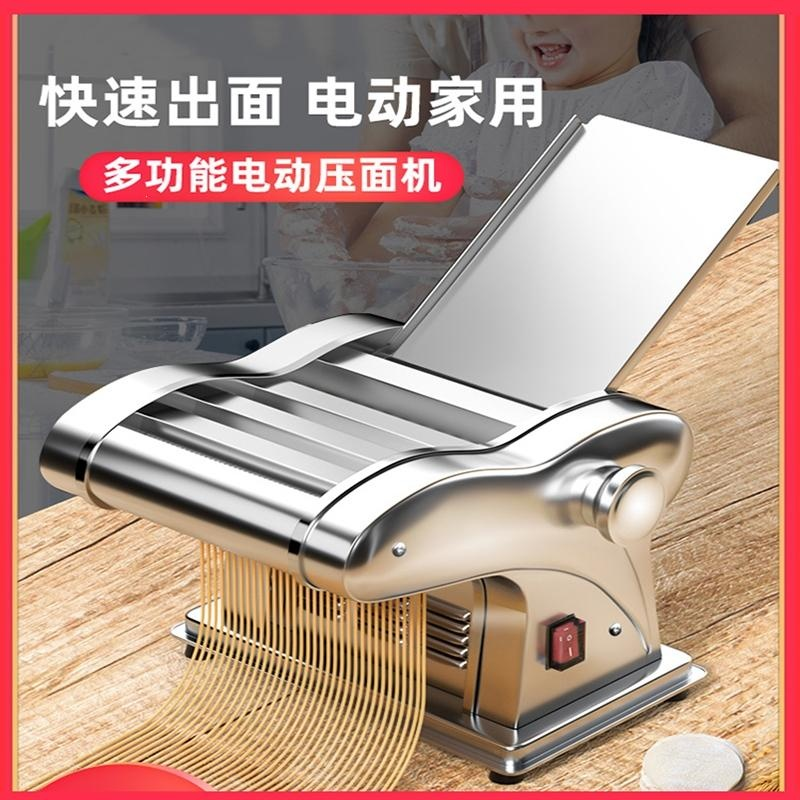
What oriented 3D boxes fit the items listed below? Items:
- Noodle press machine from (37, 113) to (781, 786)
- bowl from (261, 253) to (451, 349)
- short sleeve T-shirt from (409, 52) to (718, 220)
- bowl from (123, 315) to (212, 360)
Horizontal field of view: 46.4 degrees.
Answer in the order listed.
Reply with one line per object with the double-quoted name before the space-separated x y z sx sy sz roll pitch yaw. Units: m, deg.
"Noodle press machine" 0.051 0.046 1.311 0.668 0.472 0.809 19 34 39
"bowl" -0.124 -0.256 2.389 0.404 0.107 0.271 -3 13 -17
"short sleeve T-shirt" 0.192 -0.793 2.628 0.988 0.303 0.860 -15 29 -35
"bowl" -0.588 -0.155 2.394 0.197 0.111 0.069 -3 -30 0
